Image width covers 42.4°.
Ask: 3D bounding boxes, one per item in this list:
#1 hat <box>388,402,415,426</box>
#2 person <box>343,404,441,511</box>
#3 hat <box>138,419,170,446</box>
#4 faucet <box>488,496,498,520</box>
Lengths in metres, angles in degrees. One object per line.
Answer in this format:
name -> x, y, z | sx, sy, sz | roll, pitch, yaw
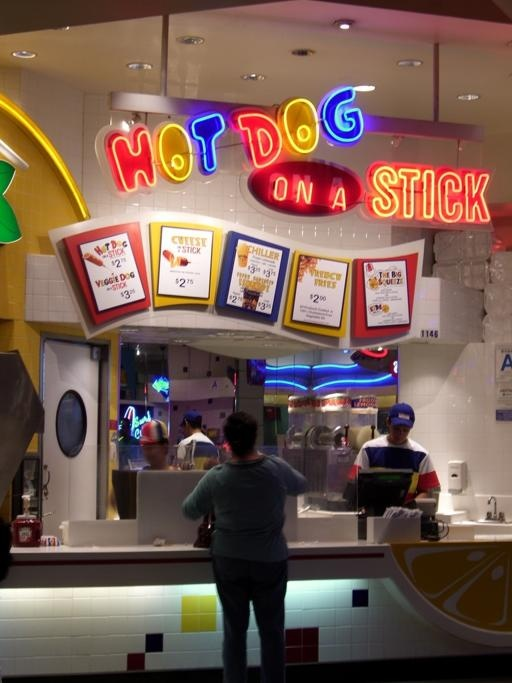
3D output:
hat -> 0.980, 0.492, 4.435 | 0.125, 0.095, 0.181 | 7, 7, 0
person -> 0.859, 0.717, 4.096 | 0.528, 0.607, 0.831 | 0, -2, 14
hat -> -0.553, 0.495, 3.569 | 0.114, 0.083, 0.149 | 0, 3, -17
faucet -> 2.155, 1.534, 6.013 | 0.099, 0.183, 0.249 | 0, -2, 20
